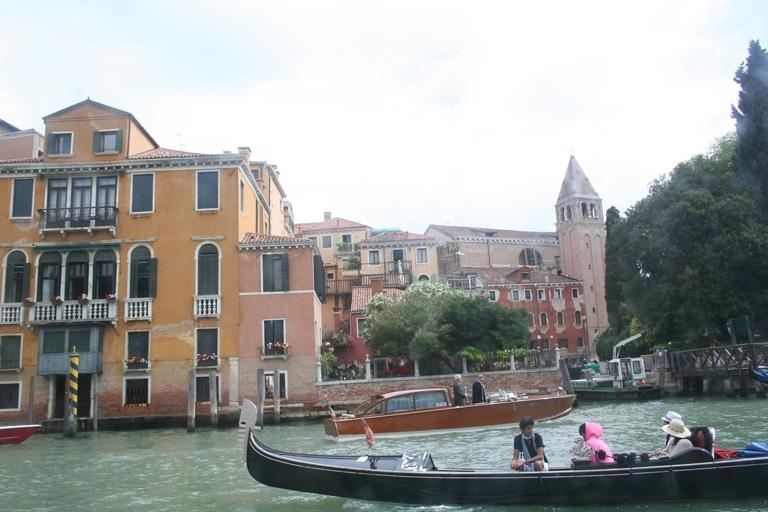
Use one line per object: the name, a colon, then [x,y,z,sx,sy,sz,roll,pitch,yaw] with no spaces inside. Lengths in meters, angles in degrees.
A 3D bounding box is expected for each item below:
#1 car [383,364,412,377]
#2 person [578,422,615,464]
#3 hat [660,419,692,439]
car: [0.891,7.213,45.381,1.801,0.606,1.252,-3,-11,2]
person: [7.011,6.405,24.514,0.980,1.410,0.702,-9,-29,-40]
hat: [9.628,5.816,24.202,0.702,0.252,0.695,-8,16,-25]
